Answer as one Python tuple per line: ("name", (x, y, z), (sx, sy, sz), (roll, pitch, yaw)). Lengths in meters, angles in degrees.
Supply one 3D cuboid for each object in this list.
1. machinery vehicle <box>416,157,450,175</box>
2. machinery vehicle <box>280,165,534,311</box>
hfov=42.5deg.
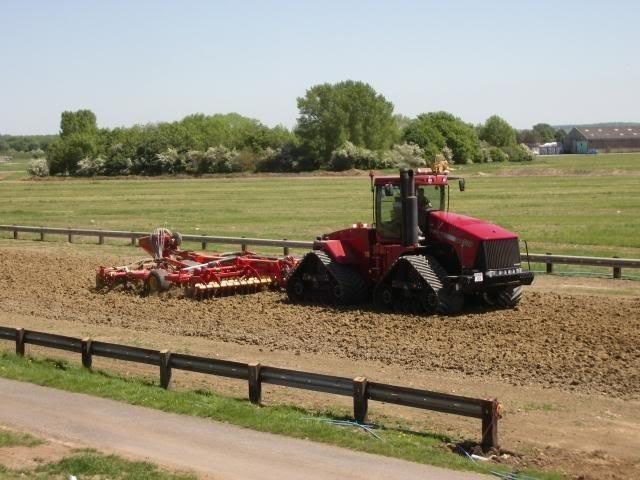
("machinery vehicle", (2.949, -1.907, 21.496), (0.811, 0.284, 0.568), (-1, 3, 3))
("machinery vehicle", (2.383, -0.079, 22.484), (3.597, 3.392, 6.674), (-7, 7, -38))
